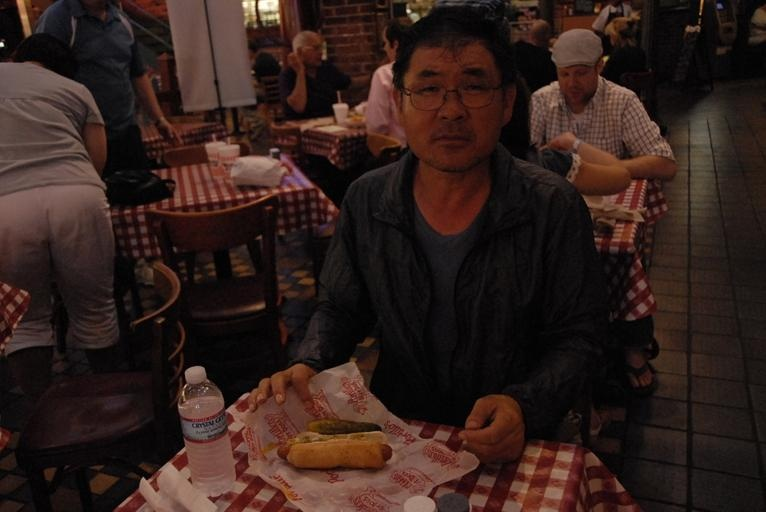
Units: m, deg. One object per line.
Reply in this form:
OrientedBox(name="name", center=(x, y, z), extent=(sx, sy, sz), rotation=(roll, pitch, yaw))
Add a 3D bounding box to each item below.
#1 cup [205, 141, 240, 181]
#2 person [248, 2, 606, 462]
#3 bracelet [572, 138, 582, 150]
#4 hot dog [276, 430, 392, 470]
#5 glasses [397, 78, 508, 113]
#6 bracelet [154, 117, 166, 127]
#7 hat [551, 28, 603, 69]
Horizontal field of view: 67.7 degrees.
OrientedBox(name="cup", center=(-1.215, -0.724, 4.390), extent=(0.297, 0.306, 0.298), rotation=(0, 18, 0))
OrientedBox(name="person", center=(0.275, 0.021, 2.149), extent=(1.079, 1.792, 1.037), rotation=(4, 22, 20))
OrientedBox(name="bracelet", center=(1.218, -0.707, 3.587), extent=(0.050, 0.066, 0.066), rotation=(16, 54, 6))
OrientedBox(name="hot dog", center=(-0.150, 0.625, 1.819), extent=(0.286, 0.081, 0.144), rotation=(0, 1, 4))
OrientedBox(name="glasses", center=(0.254, -0.576, 2.076), extent=(0.338, 0.086, 0.104), rotation=(1, 21, 11))
OrientedBox(name="bracelet", center=(-2.060, -1.242, 5.325), extent=(0.078, 0.072, 0.084), rotation=(-1, -11, 7))
OrientedBox(name="hat", center=(1.349, -1.461, 3.941), extent=(0.253, 0.121, 0.320), rotation=(6, 38, 19))
